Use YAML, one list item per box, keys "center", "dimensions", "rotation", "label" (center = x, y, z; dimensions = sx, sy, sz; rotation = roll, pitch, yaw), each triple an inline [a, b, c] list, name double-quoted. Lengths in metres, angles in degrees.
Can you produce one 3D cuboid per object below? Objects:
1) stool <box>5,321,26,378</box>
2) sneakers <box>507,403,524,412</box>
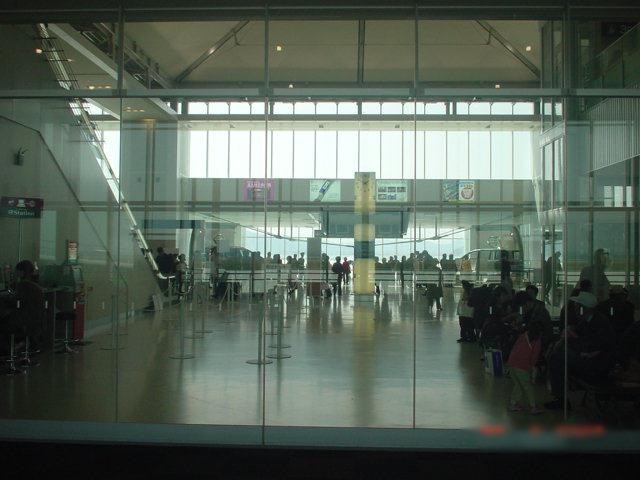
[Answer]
- center: [-4.436, 1.567, 10.196]
  dimensions: [0.267, 0.677, 0.818]
  rotation: [1, -2, -24]
  label: "stool"
- center: [2.676, 2.292, 9.561]
  dimensions: [0.260, 0.110, 0.087]
  rotation: [4, -5, 0]
  label: "sneakers"
